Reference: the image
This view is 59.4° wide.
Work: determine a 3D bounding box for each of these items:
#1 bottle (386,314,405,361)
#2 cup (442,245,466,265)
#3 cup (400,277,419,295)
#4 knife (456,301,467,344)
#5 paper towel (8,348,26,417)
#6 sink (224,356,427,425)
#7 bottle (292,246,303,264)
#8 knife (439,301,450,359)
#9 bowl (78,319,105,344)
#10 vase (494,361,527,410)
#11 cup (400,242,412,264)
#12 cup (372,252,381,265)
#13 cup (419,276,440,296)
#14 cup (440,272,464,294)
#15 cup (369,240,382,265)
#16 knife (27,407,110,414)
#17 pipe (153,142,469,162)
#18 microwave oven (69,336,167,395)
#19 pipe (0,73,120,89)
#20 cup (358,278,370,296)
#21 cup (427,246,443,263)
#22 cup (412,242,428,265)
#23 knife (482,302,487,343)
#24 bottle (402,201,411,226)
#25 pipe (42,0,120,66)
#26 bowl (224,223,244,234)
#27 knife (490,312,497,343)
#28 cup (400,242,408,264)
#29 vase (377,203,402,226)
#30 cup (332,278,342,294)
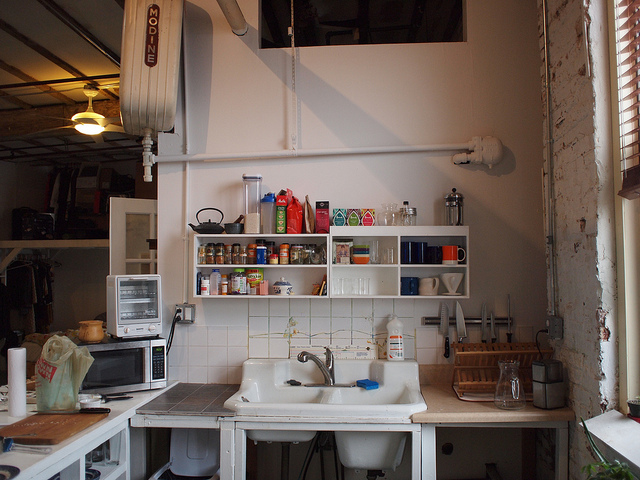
[{"bbox_3d":[0.530,0.689,3.937,0.129,0.302,0.151,1,8,8],"label":"bottle"},{"bbox_3d":[0.910,0.105,3.839,0.157,0.132,0.101,1,-2,0],"label":"cup"},{"bbox_3d":[0.622,0.321,3.889,0.109,0.094,0.117,-1,-6,0],"label":"cup"},{"bbox_3d":[0.984,0.580,3.916,0.076,0.278,0.079,2,8,14],"label":"knife"},{"bbox_3d":[-1.823,0.837,3.355,0.106,0.413,0.142,-4,9,-32],"label":"paper towel"},{"bbox_3d":[0.032,0.989,3.728,1.276,0.309,0.583,1,8,3],"label":"sink"},{"bbox_3d":[-0.160,0.104,3.936,0.074,0.119,0.027,-2,8,-16],"label":"bottle"},{"bbox_3d":[0.864,0.634,3.929,0.064,0.363,0.016,-2,-6,36],"label":"knife"},{"bbox_3d":[-1.535,0.614,3.772,0.120,0.126,0.167,1,-1,2],"label":"bowl"},{"bbox_3d":[1.202,0.911,3.516,0.199,0.278,0.129,2,8,15],"label":"vase"},{"bbox_3d":[0.593,0.091,3.869,0.082,0.143,0.039,1,8,7],"label":"cup"},{"bbox_3d":[0.397,0.126,3.934,0.062,0.071,0.042,0,8,-5],"label":"cup"},{"bbox_3d":[0.755,0.322,3.904,0.129,0.116,0.112,2,8,10],"label":"cup"},{"bbox_3d":[0.908,0.309,3.879,0.135,0.120,0.133,-1,-10,0],"label":"cup"},{"bbox_3d":[0.391,0.081,3.955,0.089,0.152,0.096,0,8,0],"label":"cup"},{"bbox_3d":[-1.509,1.026,3.374,0.305,0.026,0.046,-1,-7,-4],"label":"knife"},{"bbox_3d":[0.012,-0.632,4.044,2.780,0.120,0.114,-1,1,3],"label":"pipe"},{"bbox_3d":[-1.374,0.765,3.802,0.573,0.393,0.353,-3,26,-28],"label":"microwave oven"},{"bbox_3d":[-2.687,-1.611,5.697,1.282,0.135,0.142,1,8,6],"label":"pipe"},{"bbox_3d":[0.311,0.329,3.938,0.090,0.108,0.096,0,-6,0],"label":"cup"},{"bbox_3d":[0.789,0.103,3.867,0.094,0.121,0.101,-1,1,0],"label":"cup"},{"bbox_3d":[0.688,0.092,3.870,0.122,0.154,0.127,0,-4,0],"label":"cup"},{"bbox_3d":[1.153,0.576,3.925,0.038,0.258,0.123,3,8,18],"label":"knife"},{"bbox_3d":[0.611,-0.189,3.959,0.059,0.169,0.130,2,8,9],"label":"bottle"},{"bbox_3d":[-2.083,-1.821,4.968,0.067,0.336,0.943,2,8,16],"label":"pipe"},{"bbox_3d":[-0.603,-0.081,3.915,0.122,0.075,0.062,-1,8,-12],"label":"bowl"},{"bbox_3d":[1.206,0.612,3.916,0.043,0.206,0.036,-1,-6,-7],"label":"knife"},{"bbox_3d":[0.577,0.090,3.868,0.054,0.142,0.048,2,8,12],"label":"cup"},{"bbox_3d":[0.493,-0.175,3.969,0.145,0.184,0.154,0,-2,-1],"label":"vase"},{"bbox_3d":[0.114,0.325,3.918,0.072,0.147,0.077,-1,-2,0],"label":"cup"}]
